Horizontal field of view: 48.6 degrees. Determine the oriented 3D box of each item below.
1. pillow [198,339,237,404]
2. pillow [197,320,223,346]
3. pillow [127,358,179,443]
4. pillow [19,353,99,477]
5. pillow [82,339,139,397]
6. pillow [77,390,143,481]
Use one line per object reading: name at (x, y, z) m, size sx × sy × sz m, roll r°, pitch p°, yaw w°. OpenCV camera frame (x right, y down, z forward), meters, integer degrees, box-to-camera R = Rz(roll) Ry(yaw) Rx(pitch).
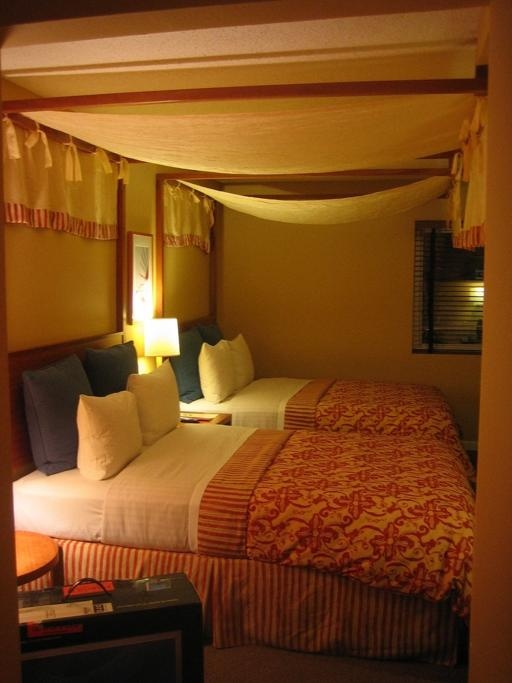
pillow at (-0.328, 0.267, 4.717) m, size 0.164 × 0.331 × 0.479 m, roll 3°, pitch 8°, yaw 10°
pillow at (-0.427, -0.071, 5.404) m, size 0.066 × 0.228 × 0.215 m, roll -34°, pitch -31°, yaw 27°
pillow at (-0.598, 0.362, 3.295) m, size 0.154 × 0.371 × 0.412 m, roll -3°, pitch 9°, yaw 16°
pillow at (-0.970, 0.380, 2.759) m, size 0.189 × 0.377 × 0.550 m, roll 2°, pitch 8°, yaw 5°
pillow at (-0.859, 0.165, 3.315) m, size 0.102 × 0.203 × 0.298 m, roll 2°, pitch 9°, yaw 21°
pillow at (-0.709, 0.469, 2.729) m, size 0.148 × 0.270 × 0.385 m, roll 1°, pitch 5°, yaw 10°
